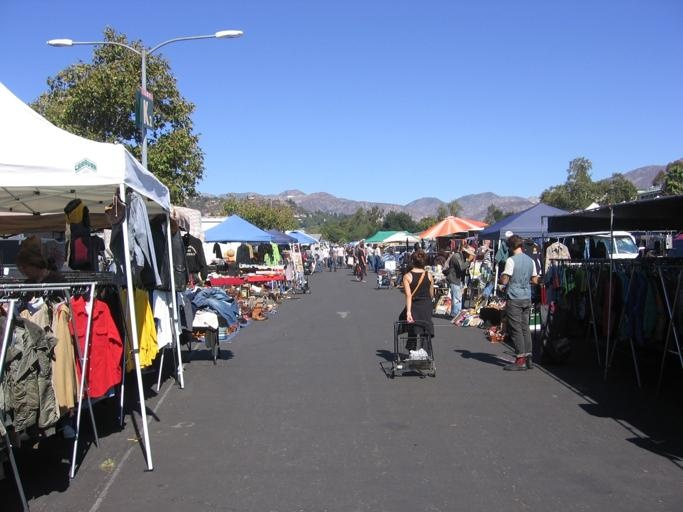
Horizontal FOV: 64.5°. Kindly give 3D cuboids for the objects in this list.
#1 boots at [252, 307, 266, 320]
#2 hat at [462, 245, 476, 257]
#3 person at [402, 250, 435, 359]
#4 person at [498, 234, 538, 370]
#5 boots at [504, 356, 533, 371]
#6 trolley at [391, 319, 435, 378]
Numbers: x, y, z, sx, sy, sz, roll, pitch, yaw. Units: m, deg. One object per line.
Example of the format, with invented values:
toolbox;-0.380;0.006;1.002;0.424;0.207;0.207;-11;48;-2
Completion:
boots;-2.353;1.626;15.437;0.361;0.419;0.288;4;1;12
hat;3.750;-0.091;15.758;0.341;0.122;0.332;34;9;-19
person;1.329;0.821;9.444;0.609;1.934;0.632;-8;15;-18
person;3.006;0.934;9.251;0.551;1.944;0.378;0;4;4
boots;3.005;1.812;9.243;0.474;0.372;0.228;-1;-1;7
trolley;1.190;1.506;9.063;0.751;0.855;0.821;0;4;5
